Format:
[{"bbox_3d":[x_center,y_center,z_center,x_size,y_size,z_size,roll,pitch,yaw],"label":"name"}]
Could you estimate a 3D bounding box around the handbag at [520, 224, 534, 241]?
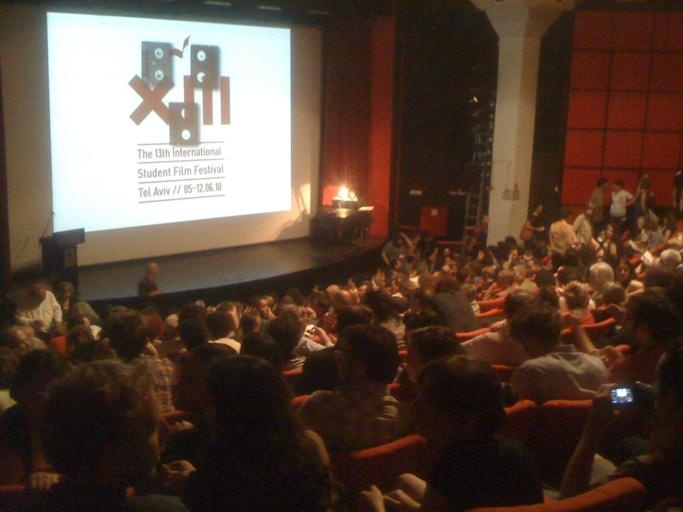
[{"bbox_3d":[3.159,-0.382,9.550,0.177,0.336,0.188,-10,22,-15],"label":"handbag"}]
